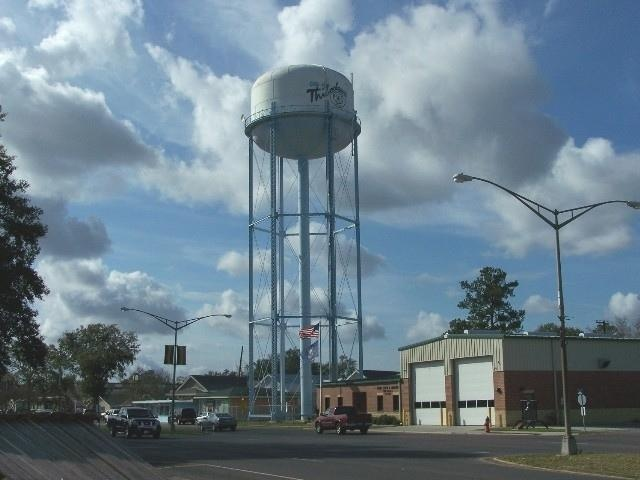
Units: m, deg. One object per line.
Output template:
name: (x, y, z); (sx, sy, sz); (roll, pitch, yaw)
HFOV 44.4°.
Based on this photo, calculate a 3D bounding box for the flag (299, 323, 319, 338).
flag: (-0.815, 7.323, 63.657); (0.822, 1.099, 2.366); (10, -20, -30)

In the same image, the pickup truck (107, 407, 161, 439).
pickup truck: (-10.980, 10.711, 46.587); (1.679, 1.441, 3.824); (6, -16, -24)

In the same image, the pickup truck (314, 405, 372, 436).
pickup truck: (1.364, 11.155, 48.843); (3.401, 1.741, 1.611); (-14, -22, 39)
